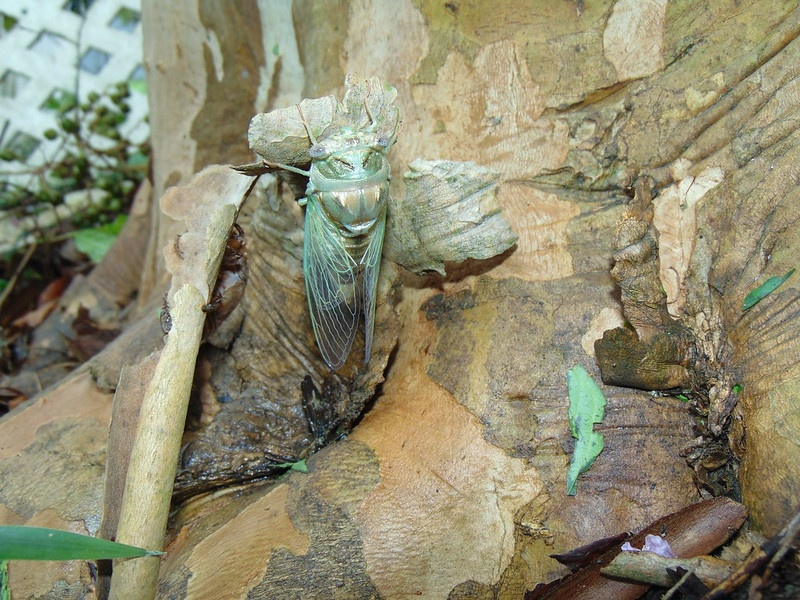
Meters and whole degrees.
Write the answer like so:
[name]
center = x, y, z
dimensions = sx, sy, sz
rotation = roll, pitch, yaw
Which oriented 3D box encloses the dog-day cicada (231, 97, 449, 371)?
[dog-day cicada]
center = -0.199, -0.185, 3.783
dimensions = 0.759, 1.397, 0.353
rotation = -7, 6, -24
